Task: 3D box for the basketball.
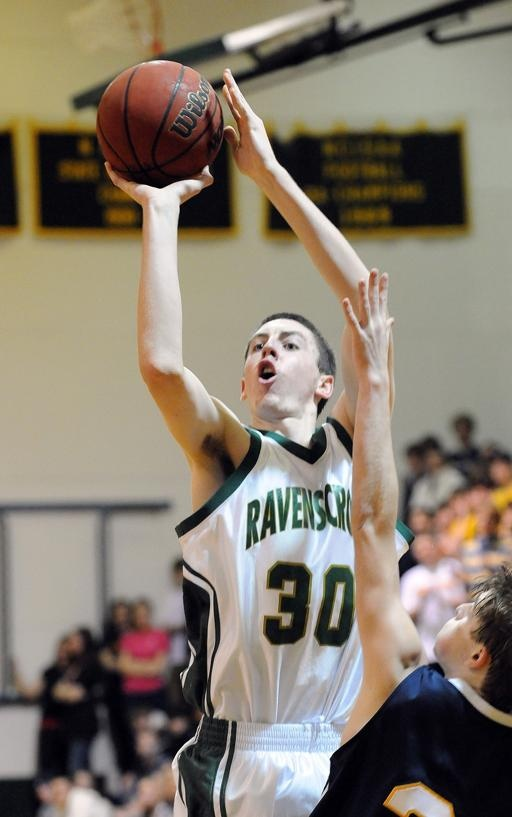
[{"bbox_3d":[-0.212,-0.733,3.175,0.330,0.342,0.334,-1,-38,7],"label":"basketball"}]
